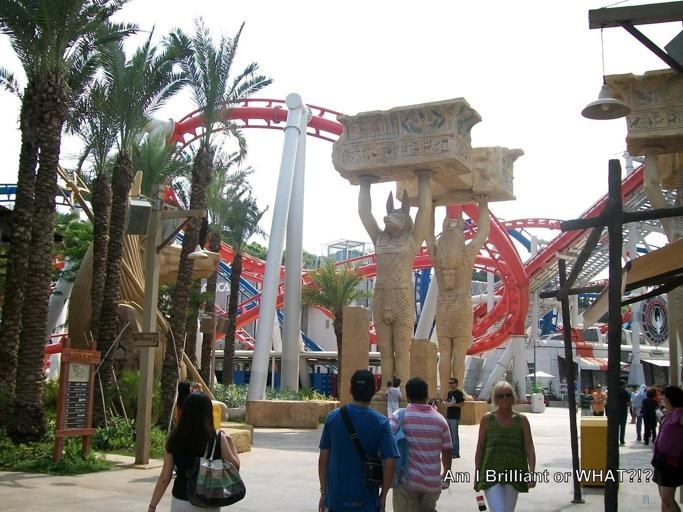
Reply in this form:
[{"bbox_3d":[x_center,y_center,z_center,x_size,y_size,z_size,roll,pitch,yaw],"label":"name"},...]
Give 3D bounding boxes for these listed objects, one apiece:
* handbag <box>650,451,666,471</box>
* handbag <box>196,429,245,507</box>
[{"bbox_3d":[3.154,2.024,5.621,0.050,0.170,0.122,2,-17,12],"label":"handbag"},{"bbox_3d":[-0.848,1.494,3.964,0.341,0.510,0.208,4,-14,-14],"label":"handbag"}]
